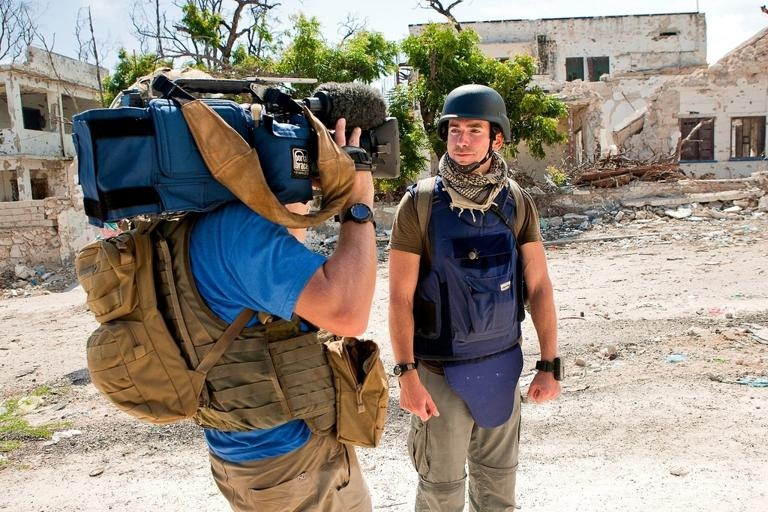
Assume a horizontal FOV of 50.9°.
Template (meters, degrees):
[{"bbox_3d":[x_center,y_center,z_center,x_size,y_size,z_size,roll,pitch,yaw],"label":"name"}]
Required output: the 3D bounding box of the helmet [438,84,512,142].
[{"bbox_3d":[0.922,-1.451,8.171,0.631,0.367,0.640,2,4,14],"label":"helmet"}]
